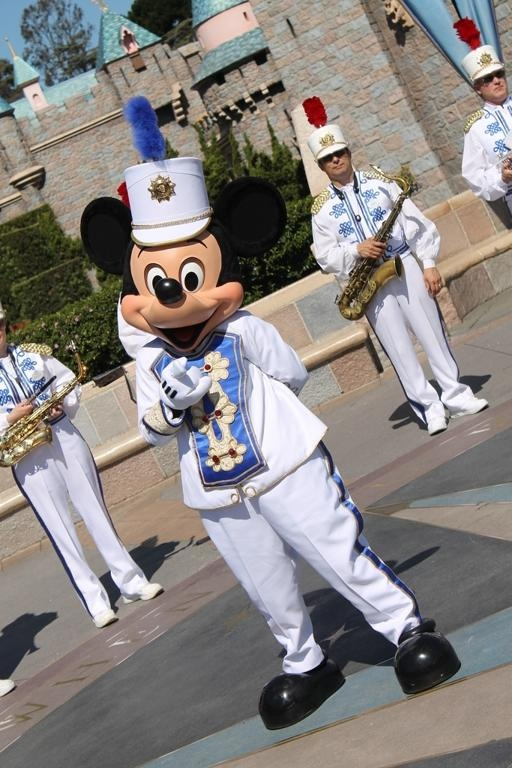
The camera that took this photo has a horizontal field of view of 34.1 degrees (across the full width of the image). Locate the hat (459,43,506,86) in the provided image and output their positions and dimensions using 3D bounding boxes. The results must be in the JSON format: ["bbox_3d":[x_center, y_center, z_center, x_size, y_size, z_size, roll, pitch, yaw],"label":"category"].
[{"bbox_3d":[1.480,-2.049,5.348,0.231,0.165,0.281,-27,23,3],"label":"hat"}]

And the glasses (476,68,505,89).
[{"bbox_3d":[1.503,-1.925,5.316,0.117,0.089,0.158,-33,-11,0],"label":"glasses"}]

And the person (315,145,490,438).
[{"bbox_3d":[0.890,-0.619,5.201,0.839,2.066,0.752,-29,16,-5],"label":"person"}]

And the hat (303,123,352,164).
[{"bbox_3d":[0.439,-1.516,5.167,0.205,0.234,0.108,-18,-1,6],"label":"hat"}]

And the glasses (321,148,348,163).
[{"bbox_3d":[0.499,-1.403,5.126,0.097,0.043,0.124,-20,-4,5],"label":"glasses"}]

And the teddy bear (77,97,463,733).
[{"bbox_3d":[-0.263,0.110,2.725,0.939,2.155,0.901,-25,15,11],"label":"teddy bear"}]

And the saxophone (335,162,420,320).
[{"bbox_3d":[0.674,-0.868,5.204,0.539,0.916,0.446,0,16,-12],"label":"saxophone"}]
